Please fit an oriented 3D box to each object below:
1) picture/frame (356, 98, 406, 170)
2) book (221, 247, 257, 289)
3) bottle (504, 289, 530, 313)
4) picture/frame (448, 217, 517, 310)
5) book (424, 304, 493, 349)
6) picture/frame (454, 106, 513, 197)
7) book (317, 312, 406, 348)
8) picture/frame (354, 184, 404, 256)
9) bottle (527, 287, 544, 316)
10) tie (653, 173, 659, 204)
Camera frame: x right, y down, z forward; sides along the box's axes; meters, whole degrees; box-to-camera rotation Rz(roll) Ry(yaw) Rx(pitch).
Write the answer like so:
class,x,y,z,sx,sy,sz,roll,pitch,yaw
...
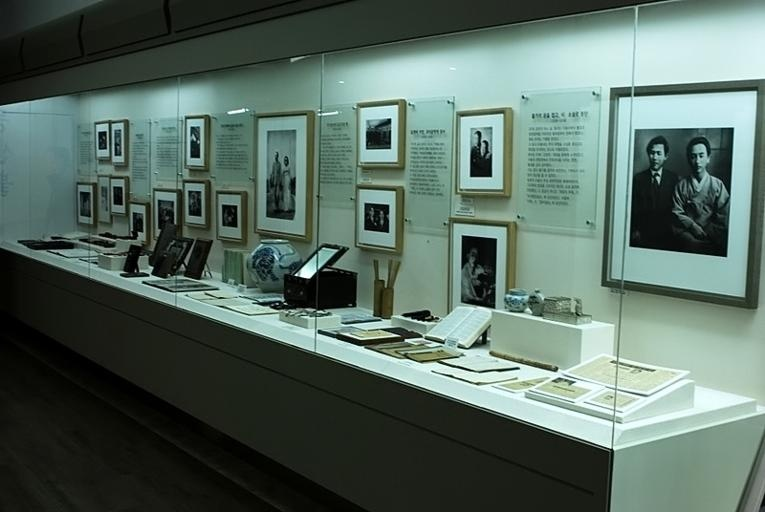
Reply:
class,x,y,z,sx,sy,sz,roll,pitch,yaw
picture/frame,0.001,-0.852,4.142,0.493,0.526,0.057,3,4,33
book,-1.237,0.093,5.252,0.145,0.332,0.365,-4,2,-35
bottle,0.797,0.251,3.600,0.131,0.120,0.140,4,5,36
picture/frame,0.632,0.043,3.718,0.071,0.668,0.506,-4,10,-41
book,0.495,0.439,3.838,0.396,0.266,0.083,9,12,37
picture/frame,0.629,-0.655,3.677,0.074,0.681,0.552,-2,5,-36
book,-0.164,0.569,4.374,0.754,0.150,0.055,9,12,36
picture/frame,-0.012,-0.271,4.197,0.456,0.463,0.038,8,8,35
bottle,0.891,0.266,3.497,0.098,0.164,0.025,9,13,42
tie,1.444,-0.380,3.191,0.047,0.122,0.013,-5,11,-31
